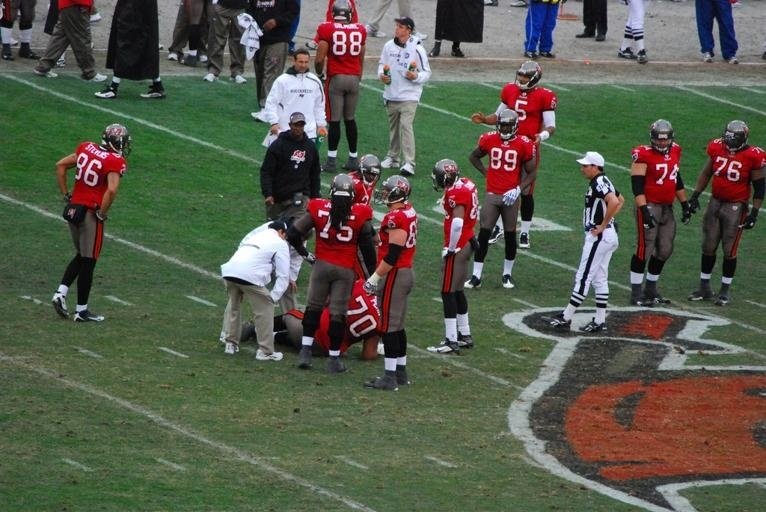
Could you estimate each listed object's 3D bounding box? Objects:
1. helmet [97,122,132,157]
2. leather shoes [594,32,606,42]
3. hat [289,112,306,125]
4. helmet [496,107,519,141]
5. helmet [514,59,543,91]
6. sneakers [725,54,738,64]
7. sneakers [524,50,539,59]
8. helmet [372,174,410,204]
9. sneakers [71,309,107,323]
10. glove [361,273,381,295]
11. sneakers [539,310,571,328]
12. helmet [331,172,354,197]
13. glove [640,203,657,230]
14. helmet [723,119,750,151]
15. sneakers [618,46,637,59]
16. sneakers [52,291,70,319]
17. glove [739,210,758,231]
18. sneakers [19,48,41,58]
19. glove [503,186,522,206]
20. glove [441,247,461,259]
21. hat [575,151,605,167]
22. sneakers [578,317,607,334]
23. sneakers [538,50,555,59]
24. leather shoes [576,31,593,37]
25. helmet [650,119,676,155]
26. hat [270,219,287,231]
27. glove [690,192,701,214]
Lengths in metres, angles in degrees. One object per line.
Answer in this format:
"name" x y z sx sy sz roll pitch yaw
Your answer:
"helmet" -3.628 -1.630 19.992 0.543 0.481 0.388 -6 29 -35
"leather shoes" 4.929 -4.999 33.190 0.258 0.234 0.657 0 7 14
"hat" -1.223 -1.955 20.810 0.214 0.170 0.192 5 7 -4
"helmet" 1.893 -1.965 21.624 0.369 0.401 0.436 2 39 15
"helmet" 2.250 -2.859 22.684 0.474 0.378 0.373 -36 54 -21
"sneakers" 7.715 -4.361 32.319 0.149 0.131 0.316 -1 10 -1
"sneakers" 3.186 -4.309 31.126 0.354 0.139 0.117 7 34 -3
"helmet" 0.159 -0.838 19.239 0.600 0.404 0.418 3 26 4
"sneakers" -4.007 0.816 19.834 0.522 0.189 0.156 0 28 -14
"glove" -0.135 0.367 18.874 0.127 0.269 0.205 28 37 10
"sneakers" 2.467 0.931 20.897 0.193 0.226 0.390 0 9 -39
"helmet" -0.537 -0.921 19.055 0.263 0.251 0.322 3 33 -4
"glove" 3.882 -0.571 21.484 0.252 0.347 0.137 7 7 8
"helmet" 5.232 -1.784 21.718 0.350 0.429 0.279 7 7 9
"sneakers" 5.321 -4.472 31.942 0.493 0.222 0.155 2 43 1
"sneakers" -4.363 0.680 19.798 0.227 0.366 0.227 4 7 -12
"glove" 5.499 -0.568 21.755 0.132 0.257 0.348 30 73 29
"sneakers" -6.742 -3.902 27.721 0.464 0.269 0.162 1 38 -8
"glove" 1.920 -0.884 21.712 0.293 0.307 0.205 3 8 -22
"glove" 0.938 -0.032 19.844 0.218 0.102 0.148 -5 17 -16
"hat" 2.990 -1.376 20.907 0.571 0.232 0.363 1 13 -1
"sneakers" 3.002 1.041 20.982 0.491 0.185 0.161 0 7 14
"sneakers" 3.469 -4.292 31.126 0.356 0.131 0.115 1 42 -1
"leather shoes" 4.607 -5.079 33.339 0.444 0.157 0.135 2 28 0
"helmet" 4.090 -1.832 21.567 0.405 0.441 0.510 -1 36 4
"hat" -1.406 -0.419 19.672 0.253 0.129 0.344 4 7 -5
"glove" 4.698 -0.800 22.080 0.119 0.306 0.240 7 -24 1
